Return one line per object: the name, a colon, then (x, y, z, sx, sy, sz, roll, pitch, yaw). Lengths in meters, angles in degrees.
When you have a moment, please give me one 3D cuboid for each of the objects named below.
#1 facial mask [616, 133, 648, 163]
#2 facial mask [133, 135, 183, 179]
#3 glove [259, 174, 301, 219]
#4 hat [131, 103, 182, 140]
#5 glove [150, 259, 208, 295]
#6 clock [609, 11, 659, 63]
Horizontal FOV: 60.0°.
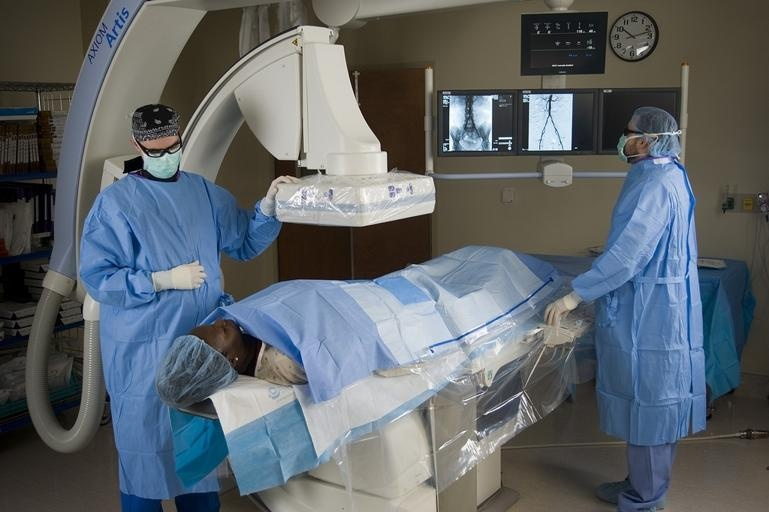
facial mask: (1.172, -0.498, 3.126, 0.068, 0.130, 0.098, 2, 2, 30)
facial mask: (-0.913, -0.410, 2.685, 0.140, 0.123, 0.168, -18, 28, -36)
glove: (-0.464, -0.247, 2.816, 0.168, 0.045, 0.178, -27, 2, -31)
hat: (-0.914, -0.515, 2.653, 0.143, 0.101, 0.155, -4, 24, -4)
glove: (-0.804, 0.070, 2.564, 0.150, 0.118, 0.071, -2, -9, -5)
clock: (1.687, -1.476, 4.522, 0.294, 0.353, 0.055, 1, -8, 20)
